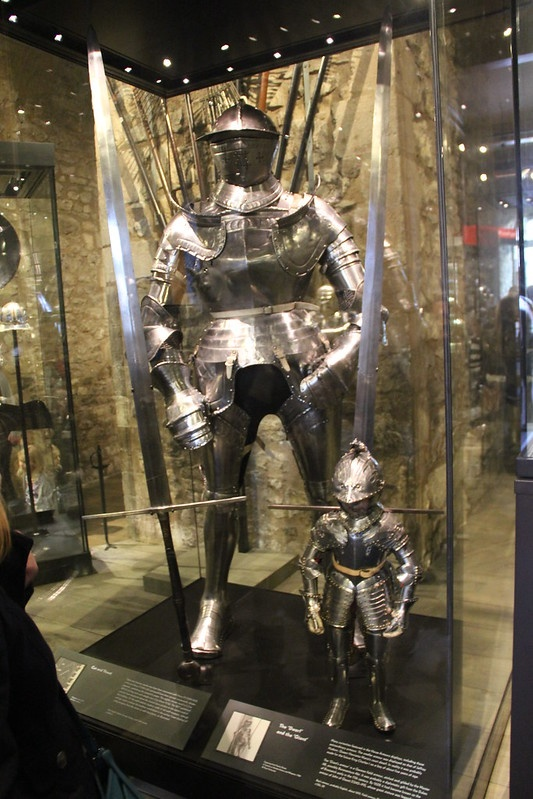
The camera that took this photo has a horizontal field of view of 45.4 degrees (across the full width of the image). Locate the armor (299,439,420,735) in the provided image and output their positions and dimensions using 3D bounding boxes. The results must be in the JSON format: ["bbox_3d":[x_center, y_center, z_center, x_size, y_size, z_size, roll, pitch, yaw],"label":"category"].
[{"bbox_3d":[0.220,0.478,1.547,0.283,0.704,0.199,1,7,17],"label":"armor"}]

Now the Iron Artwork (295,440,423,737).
[{"bbox_3d":[0.218,0.472,1.561,0.293,0.702,0.173,1,7,16],"label":"Iron Artwork"}]

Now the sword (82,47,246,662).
[{"bbox_3d":[-0.366,-0.138,2.060,0.540,1.739,0.145,-5,2,0],"label":"sword"}]
